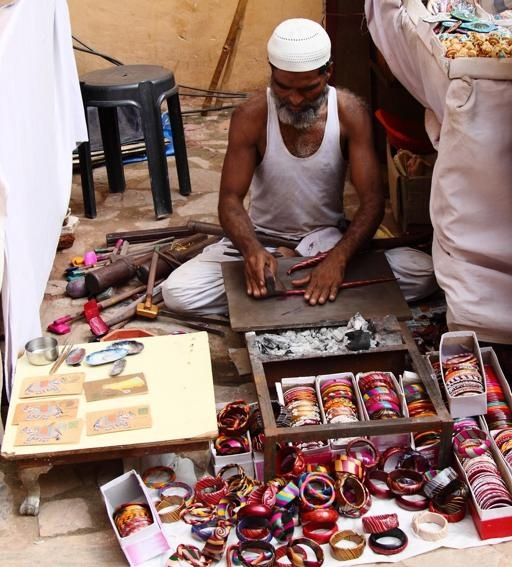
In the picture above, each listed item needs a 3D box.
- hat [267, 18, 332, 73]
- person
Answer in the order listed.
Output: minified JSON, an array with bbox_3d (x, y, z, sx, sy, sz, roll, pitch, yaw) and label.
[{"bbox_3d":[0.210,-1.121,2.493,0.333,0.140,0.281,-1,50,1],"label":"hat"},{"bbox_3d":[0.192,-0.518,2.712,1.495,1.526,0.919,-11,37,-9],"label":"person"}]
